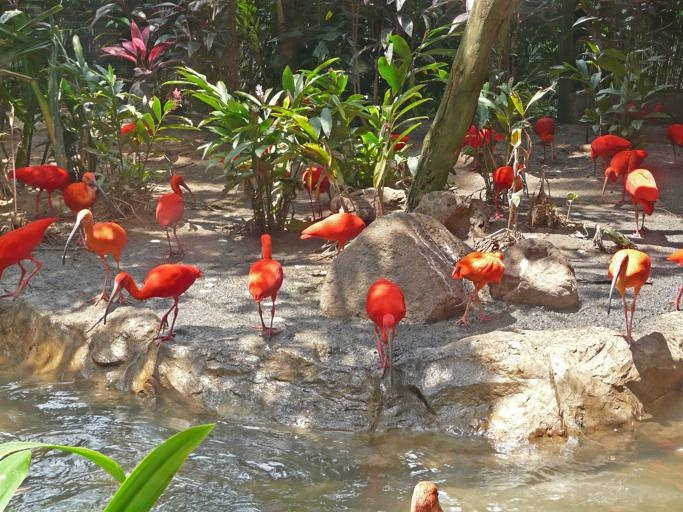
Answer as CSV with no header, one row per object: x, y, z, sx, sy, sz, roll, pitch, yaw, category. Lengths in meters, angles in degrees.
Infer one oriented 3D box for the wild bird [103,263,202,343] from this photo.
-1.515,0.365,5.574,0.658,0.625,0.971,2,7,-12,wild bird

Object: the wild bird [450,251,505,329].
1.167,0.269,5.879,0.405,0.623,0.708,4,7,10,wild bird
